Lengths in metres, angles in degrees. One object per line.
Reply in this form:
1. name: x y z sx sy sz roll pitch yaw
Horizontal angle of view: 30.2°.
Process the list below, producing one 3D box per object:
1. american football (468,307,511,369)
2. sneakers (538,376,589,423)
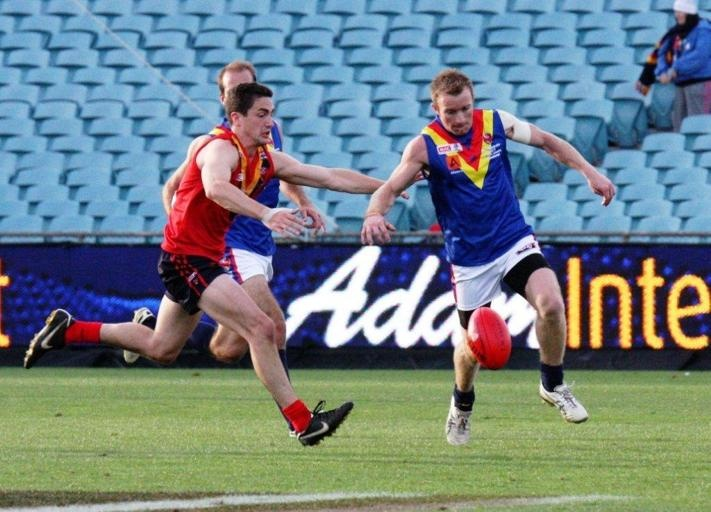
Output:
1. american football: 1.284 0.764 12.489 0.410 0.552 0.388 2 6 7
2. sneakers: 2.056 1.399 12.714 0.628 0.269 0.229 38 71 18
